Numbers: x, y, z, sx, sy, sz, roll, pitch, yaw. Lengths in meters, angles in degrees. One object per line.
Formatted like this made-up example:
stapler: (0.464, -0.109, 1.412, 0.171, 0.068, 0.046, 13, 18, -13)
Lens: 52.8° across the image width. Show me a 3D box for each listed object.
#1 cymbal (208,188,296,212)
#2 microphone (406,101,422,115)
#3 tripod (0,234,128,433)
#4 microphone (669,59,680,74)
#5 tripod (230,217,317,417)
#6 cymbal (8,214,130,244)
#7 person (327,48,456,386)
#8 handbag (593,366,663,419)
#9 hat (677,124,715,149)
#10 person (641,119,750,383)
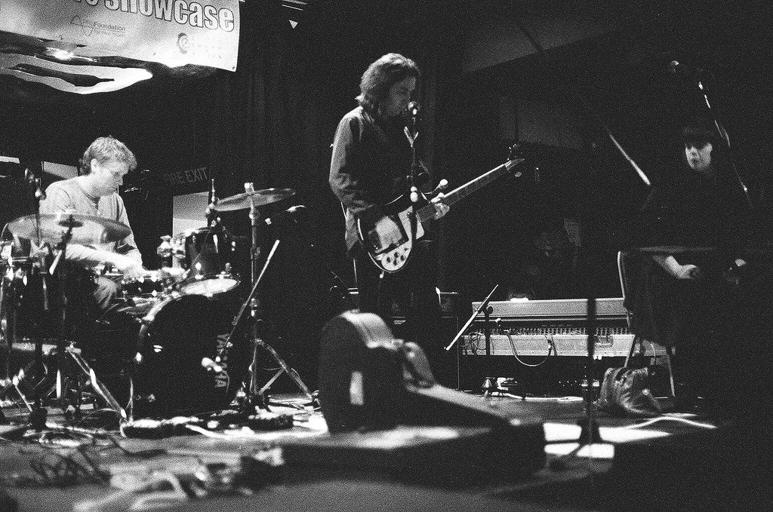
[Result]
cymbal: (-0.969, -0.397, 5.566, 0.314, 0.078, 0.317, -16, -6, 24)
microphone: (0.161, -0.849, 4.503, 0.067, 0.052, 0.076, 5, 13, 17)
tripod: (-2.113, 0.487, 5.559, 1.129, 1.155, 1.157, 1, 4, 38)
microphone: (1.487, -0.972, 4.011, 0.042, 0.056, 0.019, 3, 2, 9)
tripod: (-0.797, 0.383, 5.454, 0.594, 1.302, 1.121, 5, -3, -12)
cymbal: (-2.031, -0.177, 5.115, 0.387, 0.080, 0.379, 11, -26, -43)
person: (-0.078, -0.390, 4.605, 0.497, 1.537, 0.442, 4, -4, 1)
handbag: (1.551, 0.880, 4.989, 0.261, 0.331, 0.470, 12, -12, -23)
hat: (1.764, -0.676, 4.435, 0.131, 0.052, 0.115, 8, -39, 26)
person: (1.721, 0.003, 4.579, 0.376, 1.468, 0.723, 5, -4, -15)
